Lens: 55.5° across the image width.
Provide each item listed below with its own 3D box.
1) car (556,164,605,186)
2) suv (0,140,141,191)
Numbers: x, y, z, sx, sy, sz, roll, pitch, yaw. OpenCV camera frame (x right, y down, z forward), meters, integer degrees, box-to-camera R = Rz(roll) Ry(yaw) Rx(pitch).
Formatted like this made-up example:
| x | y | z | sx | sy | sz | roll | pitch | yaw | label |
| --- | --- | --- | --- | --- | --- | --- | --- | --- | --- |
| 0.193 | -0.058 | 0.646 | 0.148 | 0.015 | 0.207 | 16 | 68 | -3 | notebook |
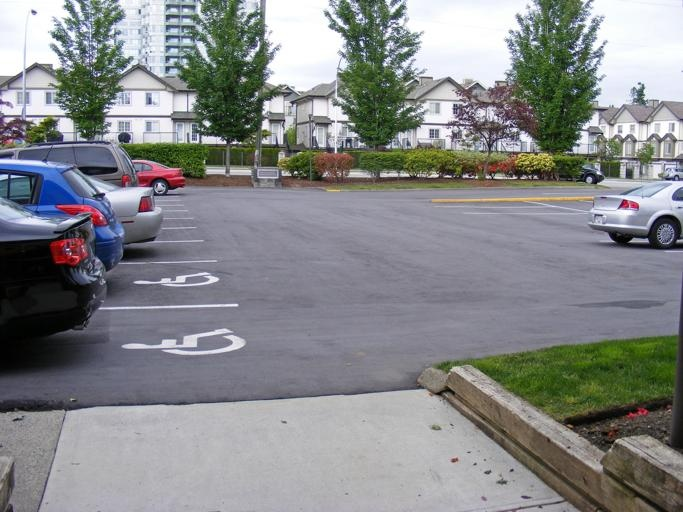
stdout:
| x | y | z | sx | sy | sz | roll | pitch | yaw | label |
| --- | --- | --- | --- | --- | --- | --- | --- | --- | --- |
| 18.500 | -6.215 | 50.167 | 3.167 | 1.322 | 1.783 | 0 | 9 | 10 | car |
| -5.871 | -2.287 | 14.304 | 2.669 | 1.310 | 1.504 | 3 | 4 | -6 | suv |
